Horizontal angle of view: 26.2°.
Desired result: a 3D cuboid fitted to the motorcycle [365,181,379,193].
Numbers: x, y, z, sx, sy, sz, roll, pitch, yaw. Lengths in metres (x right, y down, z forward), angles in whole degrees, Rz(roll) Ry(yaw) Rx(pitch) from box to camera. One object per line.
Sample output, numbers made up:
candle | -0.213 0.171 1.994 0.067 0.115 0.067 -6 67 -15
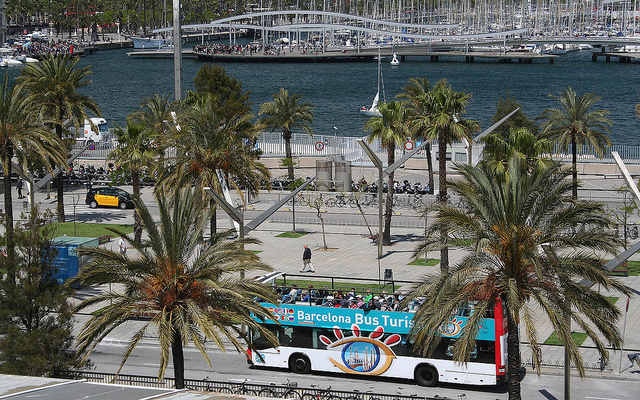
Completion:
motorcycle | 6.805 -1.398 180.214 1.551 1.061 0.802 1 -1 -18

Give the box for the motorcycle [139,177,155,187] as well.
motorcycle | -23.257 -2.235 185.705 1.848 1.326 1.705 -2 8 -8

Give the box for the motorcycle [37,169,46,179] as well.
motorcycle | -36.268 -3.098 179.545 1.243 1.450 1.180 -2 6 23

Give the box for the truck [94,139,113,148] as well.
truck | -30.539 -7.662 195.443 2.297 0.731 1.434 -1 8 2

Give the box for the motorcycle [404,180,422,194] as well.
motorcycle | 12.333 -1.430 180.027 1.790 1.387 1.184 -1 1 16

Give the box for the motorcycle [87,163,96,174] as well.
motorcycle | -31.766 -4.175 191.162 0.995 1.513 2.392 0 7 -8

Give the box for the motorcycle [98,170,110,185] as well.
motorcycle | -29.513 -2.826 188.743 1.450 1.716 0.579 19 -2 23

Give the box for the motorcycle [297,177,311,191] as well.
motorcycle | -2.187 -1.489 183.829 0.406 2.959 0.515 31 4 31

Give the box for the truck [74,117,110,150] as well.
truck | -34.980 -9.791 208.081 6.651 4.860 4.199 -2 4 27

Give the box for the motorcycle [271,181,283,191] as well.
motorcycle | -5.692 -1.776 181.086 1.090 1.253 0.295 -1 0 11
